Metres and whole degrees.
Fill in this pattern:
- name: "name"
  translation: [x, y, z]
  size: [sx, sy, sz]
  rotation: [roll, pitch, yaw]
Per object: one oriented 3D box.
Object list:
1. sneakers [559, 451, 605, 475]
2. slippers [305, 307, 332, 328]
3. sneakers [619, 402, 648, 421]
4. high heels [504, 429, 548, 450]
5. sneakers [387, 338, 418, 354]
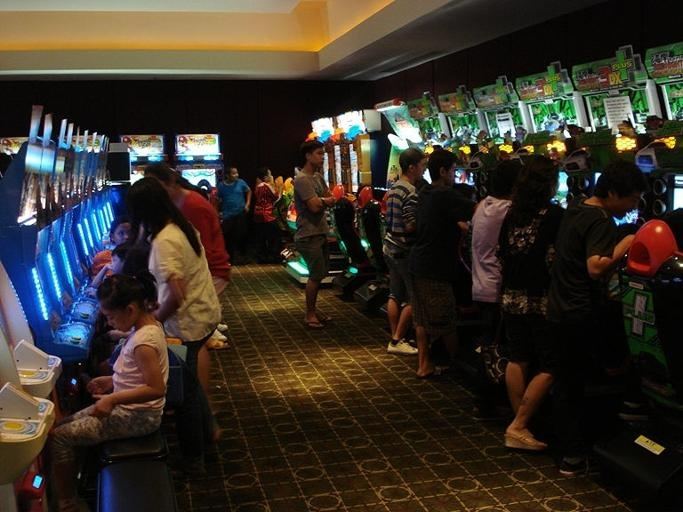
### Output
- name: "sneakers"
  translation: [1.500, 1.268, 2.889]
  size: [0.298, 0.133, 0.117]
  rotation: [-6, 9, -14]
- name: "slippers"
  translation: [-0.353, 0.800, 6.018]
  size: [0.354, 0.339, 0.173]
  rotation: [-2, 0, 32]
- name: "sneakers"
  translation: [1.978, 1.051, 3.144]
  size: [0.160, 0.108, 0.096]
  rotation: [4, 10, 35]
- name: "high heels"
  translation: [1.246, 1.202, 3.108]
  size: [0.305, 0.124, 0.111]
  rotation: [0, 4, 8]
- name: "sneakers"
  translation: [0.633, 0.940, 4.876]
  size: [0.335, 0.140, 0.132]
  rotation: [0, 6, -1]
